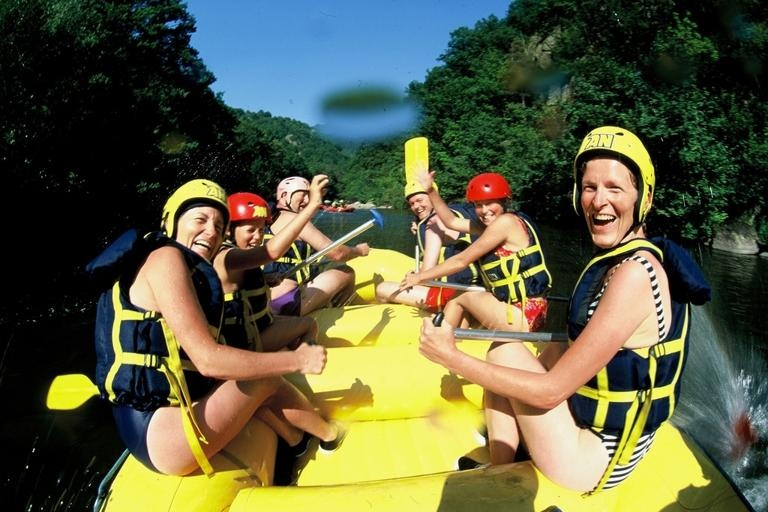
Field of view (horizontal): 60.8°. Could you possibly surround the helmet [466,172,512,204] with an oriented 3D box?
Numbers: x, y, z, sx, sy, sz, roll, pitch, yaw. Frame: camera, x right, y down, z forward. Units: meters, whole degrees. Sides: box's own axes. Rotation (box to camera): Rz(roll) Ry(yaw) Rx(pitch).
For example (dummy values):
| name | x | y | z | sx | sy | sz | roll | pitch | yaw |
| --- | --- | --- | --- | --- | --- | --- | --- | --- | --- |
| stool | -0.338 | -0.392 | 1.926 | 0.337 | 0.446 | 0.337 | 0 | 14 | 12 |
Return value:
| name | x | y | z | sx | sy | sz | roll | pitch | yaw |
| --- | --- | --- | --- | --- | --- | --- | --- | --- | --- |
| helmet | 1.303 | -0.819 | 8.033 | 0.410 | 0.248 | 0.392 | -2 | 0 | -30 |
